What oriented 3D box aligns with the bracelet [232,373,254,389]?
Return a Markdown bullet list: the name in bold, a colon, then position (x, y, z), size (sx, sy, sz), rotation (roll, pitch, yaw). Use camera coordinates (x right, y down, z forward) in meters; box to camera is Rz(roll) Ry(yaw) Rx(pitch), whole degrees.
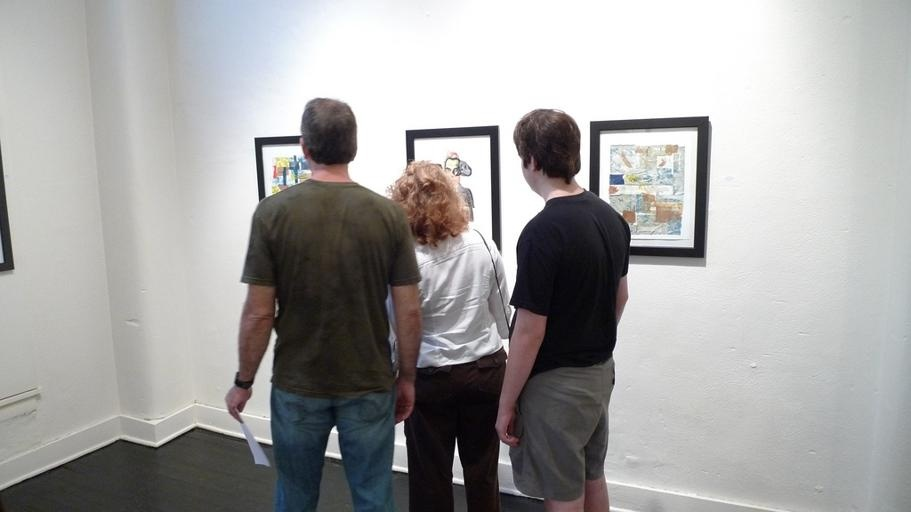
- **bracelet**: position (-1.435, 0.859, 4.309), size (0.127, 0.128, 0.127), rotation (-2, -6, 28)
